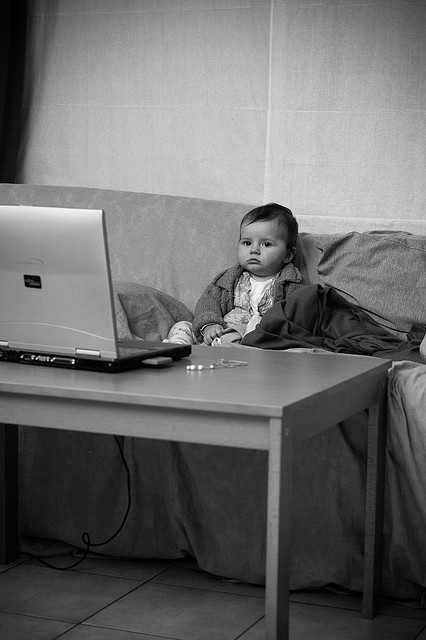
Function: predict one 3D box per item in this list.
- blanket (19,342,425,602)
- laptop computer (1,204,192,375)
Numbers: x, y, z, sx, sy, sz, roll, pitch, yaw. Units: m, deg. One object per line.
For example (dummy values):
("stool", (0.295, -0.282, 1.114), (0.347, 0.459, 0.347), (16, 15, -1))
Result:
("blanket", (0.037, 0.282, 0.925), (0.481, 0.268, 0.297), (0, 0, 28))
("laptop computer", (-0.171, -0.045, 0.871), (0.337, 0.225, 0.247), (3, 5, 21))
